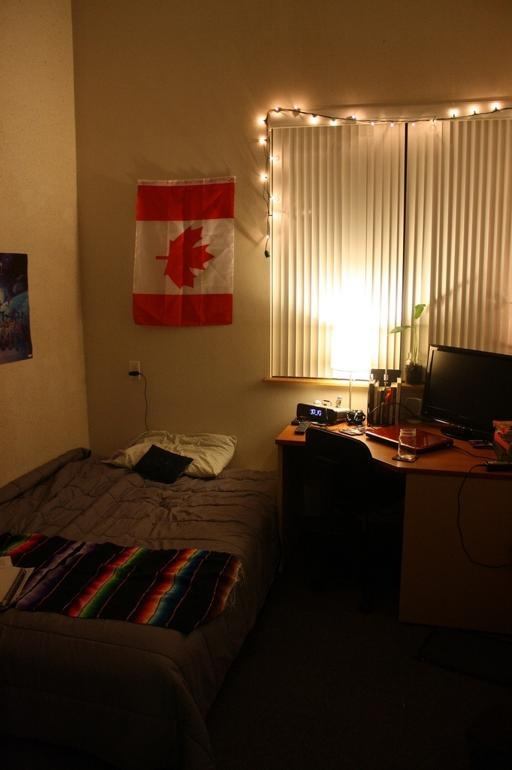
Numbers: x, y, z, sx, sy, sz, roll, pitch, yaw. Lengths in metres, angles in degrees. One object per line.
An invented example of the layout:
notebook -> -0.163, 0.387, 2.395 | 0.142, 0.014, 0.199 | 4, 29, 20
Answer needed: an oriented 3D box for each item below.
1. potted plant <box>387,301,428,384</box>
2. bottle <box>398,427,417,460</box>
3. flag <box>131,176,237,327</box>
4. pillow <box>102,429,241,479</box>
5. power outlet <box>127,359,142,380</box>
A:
potted plant -> 0.810, -0.235, 3.199 | 0.186, 0.348, 0.123 | 1, -14, 3
bottle -> 0.649, 0.258, 2.558 | 0.103, 0.150, 0.107 | 0, 3, 0
flag -> -0.404, -0.810, 3.479 | 0.786, 1.123, 0.047 | 2, 6, 13
pillow -> -0.413, 0.370, 3.411 | 0.374, 0.120, 0.342 | 2, 12, 16
power outlet -> -0.759, -0.097, 3.694 | 0.100, 0.156, 0.081 | 2, 12, 7
